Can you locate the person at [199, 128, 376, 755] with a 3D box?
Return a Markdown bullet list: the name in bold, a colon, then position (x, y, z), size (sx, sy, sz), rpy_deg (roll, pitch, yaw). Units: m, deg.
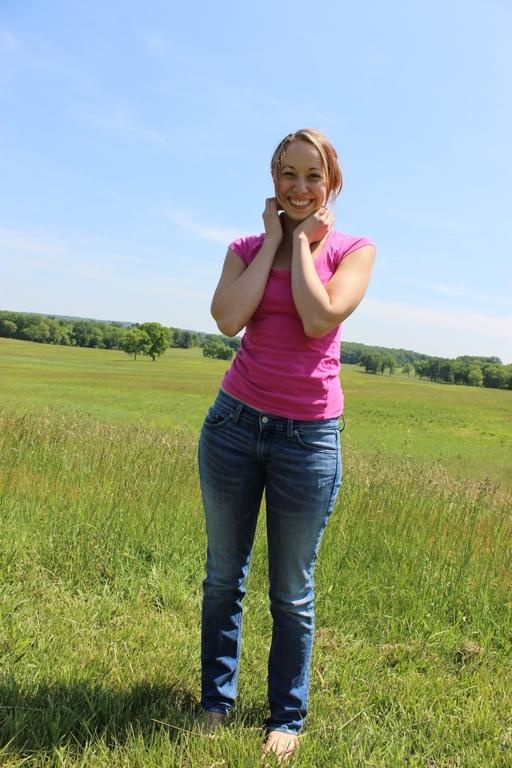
- **person**: position (0.052, 0.210, 2.082), size (0.590, 2.060, 0.412), rpy_deg (7, 2, 32)
